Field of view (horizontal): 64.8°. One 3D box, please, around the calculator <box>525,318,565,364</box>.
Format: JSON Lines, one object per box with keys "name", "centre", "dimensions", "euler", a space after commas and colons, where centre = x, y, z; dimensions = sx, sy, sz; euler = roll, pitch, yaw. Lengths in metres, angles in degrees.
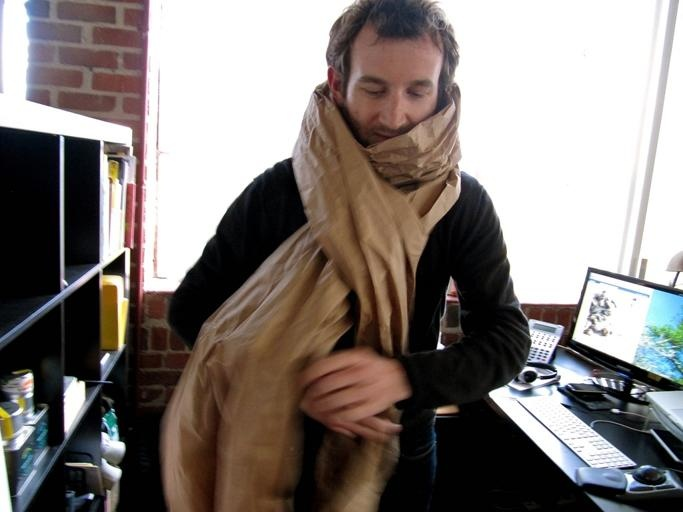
{"name": "calculator", "centre": [0.949, 0.426, 2.607], "dimensions": [0.168, 0.087, 0.298], "euler": [14, 26, 31]}
